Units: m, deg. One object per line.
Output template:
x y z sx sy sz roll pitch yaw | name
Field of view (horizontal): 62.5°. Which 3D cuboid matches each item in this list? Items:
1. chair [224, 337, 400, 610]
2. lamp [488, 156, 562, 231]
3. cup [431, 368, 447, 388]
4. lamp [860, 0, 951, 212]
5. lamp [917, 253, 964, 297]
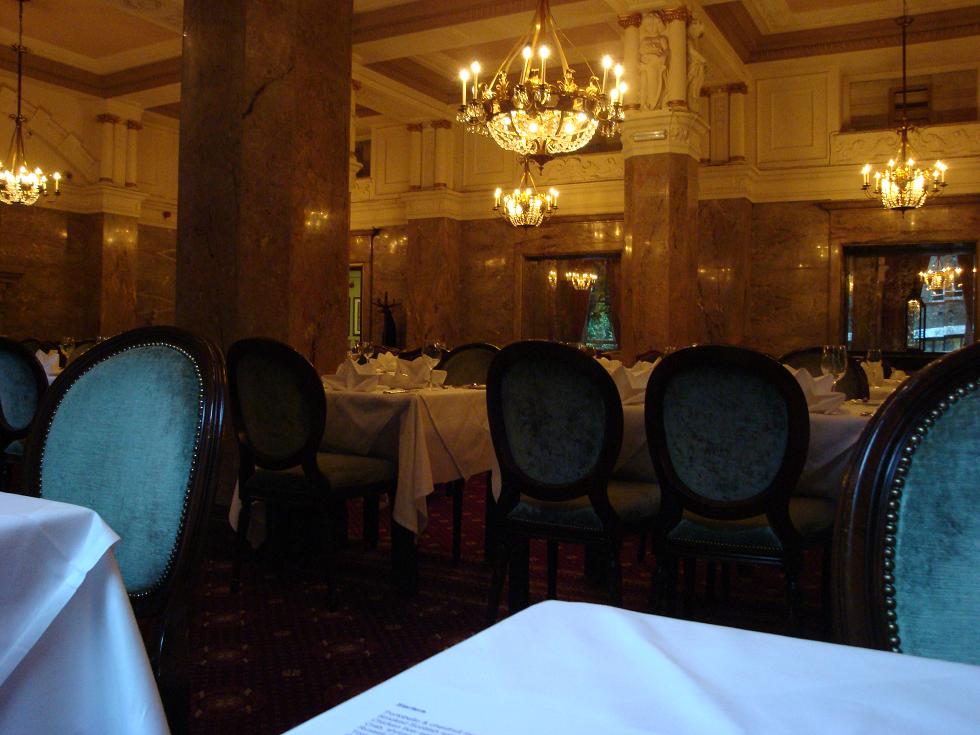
-0.745 0.347 3.395 0.494 1.029 0.631 3 7 18 | chair
0.416 -2.090 9.776 0.667 0.936 0.703 2 0 32 | lamp
-0.265 0.054 4.059 0.068 0.097 0.075 2 7 -15 | cup
4.569 -2.798 8.959 0.920 2.267 1.815 2 2 29 | lamp
5.533 -1.137 9.945 0.412 0.630 0.415 -10 13 -41 | lamp
